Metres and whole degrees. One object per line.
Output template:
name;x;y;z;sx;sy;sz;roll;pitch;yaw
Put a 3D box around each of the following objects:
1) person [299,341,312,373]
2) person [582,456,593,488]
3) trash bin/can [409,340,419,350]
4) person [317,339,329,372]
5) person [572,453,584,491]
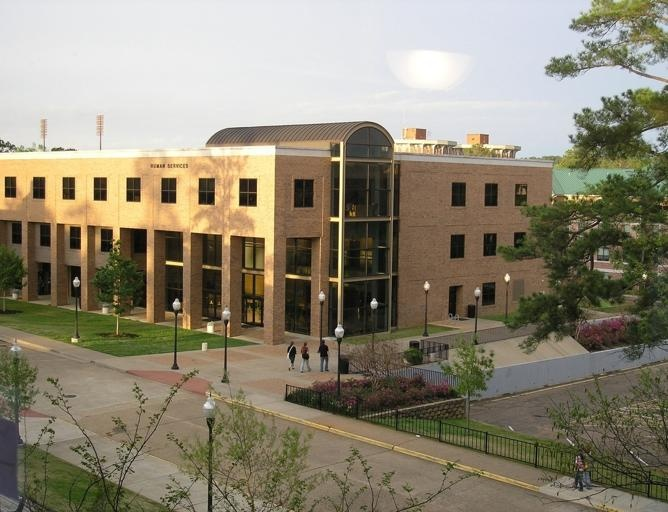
person;-1.556;5.649;56.488;0.638;1.125;1.851;7;3;-1
person;10.060;8.670;40.743;0.359;1.071;1.515;8;4;19
trash bin/can;4.806;5.379;61.315;0.372;0.512;0.505;-2;6;-22
person;-0.587;5.641;56.516;0.586;1.171;1.096;7;3;0
person;9.658;8.480;40.346;0.506;1.403;1.995;8;4;15
